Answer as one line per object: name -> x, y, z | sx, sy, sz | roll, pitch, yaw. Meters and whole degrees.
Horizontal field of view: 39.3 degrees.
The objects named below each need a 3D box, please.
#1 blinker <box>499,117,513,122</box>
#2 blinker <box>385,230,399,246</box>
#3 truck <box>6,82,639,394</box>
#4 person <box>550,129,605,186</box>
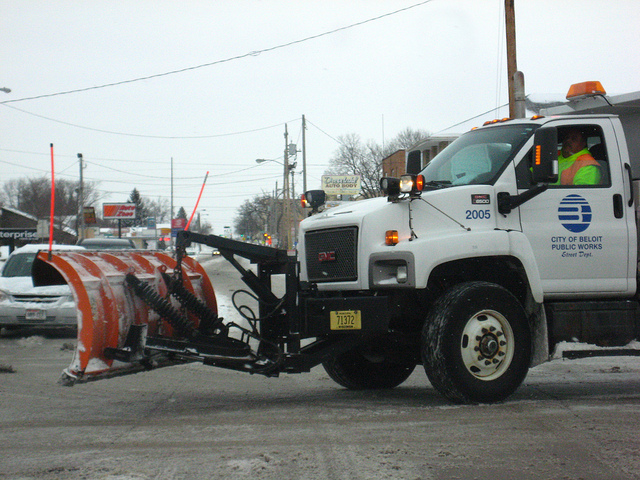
blinker -> 2.468, -1.604, 11.934 | 0.125, 0.073, 0.346 | 1, 4, 16
blinker -> 0.856, -0.033, 10.666 | 0.148, 0.184, 0.101 | 0, 3, 3
truck -> 0.730, -0.062, 11.888 | 7.562, 3.438, 4.204 | 1, -2, -22
person -> 3.270, -1.043, 11.394 | 0.374, 0.632, 0.707 | 0, -2, -19
